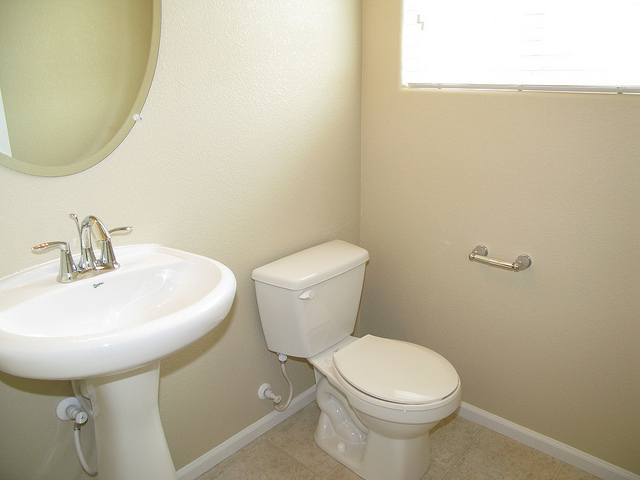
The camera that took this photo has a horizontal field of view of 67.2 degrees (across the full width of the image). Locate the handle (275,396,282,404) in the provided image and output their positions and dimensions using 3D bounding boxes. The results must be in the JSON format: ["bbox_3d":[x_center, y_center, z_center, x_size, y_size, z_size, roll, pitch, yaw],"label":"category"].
[{"bbox_3d":[-0.191,0.745,2.257,0.024,0.032,0.014,19,43,-53],"label":"handle"}]

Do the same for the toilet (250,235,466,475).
[{"bbox_3d":[0.186,0.541,2.152,0.890,0.846,0.500,21,33,39],"label":"toilet"}]

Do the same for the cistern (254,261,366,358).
[{"bbox_3d":[-0.016,0.263,2.293,0.324,0.409,0.565,13,24,37],"label":"cistern"}]
